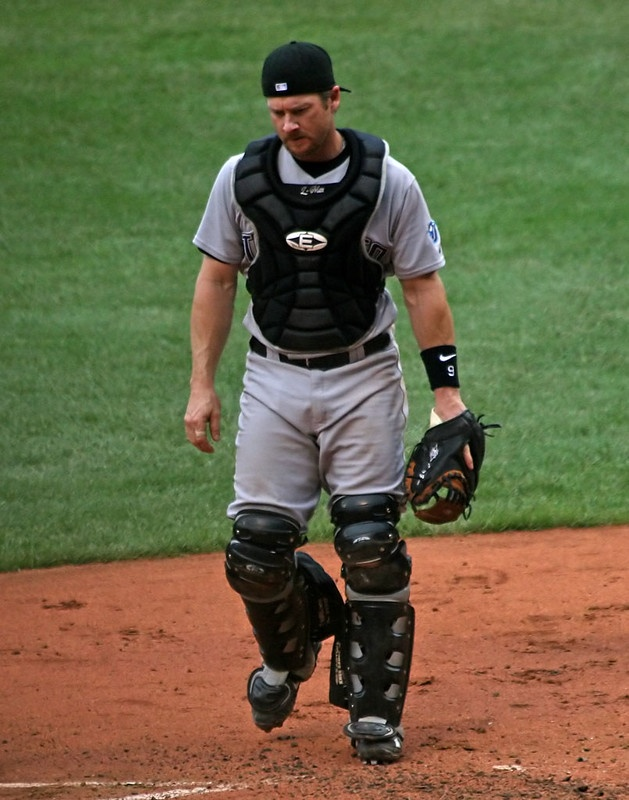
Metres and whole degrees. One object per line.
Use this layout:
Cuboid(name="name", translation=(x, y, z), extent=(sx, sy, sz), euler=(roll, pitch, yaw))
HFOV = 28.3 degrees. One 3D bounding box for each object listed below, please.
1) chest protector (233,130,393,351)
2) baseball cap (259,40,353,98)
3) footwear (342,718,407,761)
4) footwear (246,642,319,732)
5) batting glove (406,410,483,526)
Cuboid(name="chest protector", translation=(-0.029, -0.530, 4.179), extent=(0.491, 0.745, 0.256), euler=(2, 11, -4))
Cuboid(name="baseball cap", translation=(0.005, -1.119, 4.193), extent=(0.254, 0.161, 0.391), euler=(4, 11, 39))
Cuboid(name="footwear", translation=(0.201, 1.121, 4.162), extent=(0.198, 0.082, 0.161), euler=(0, 19, -1))
Cuboid(name="footwear", translation=(-0.129, 1.077, 4.493), extent=(0.180, 0.380, 0.180), euler=(20, -20, 16))
Cuboid(name="batting glove", translation=(0.426, 0.226, 4.174), extent=(0.214, 0.385, 0.323), euler=(7, 11, 23))
